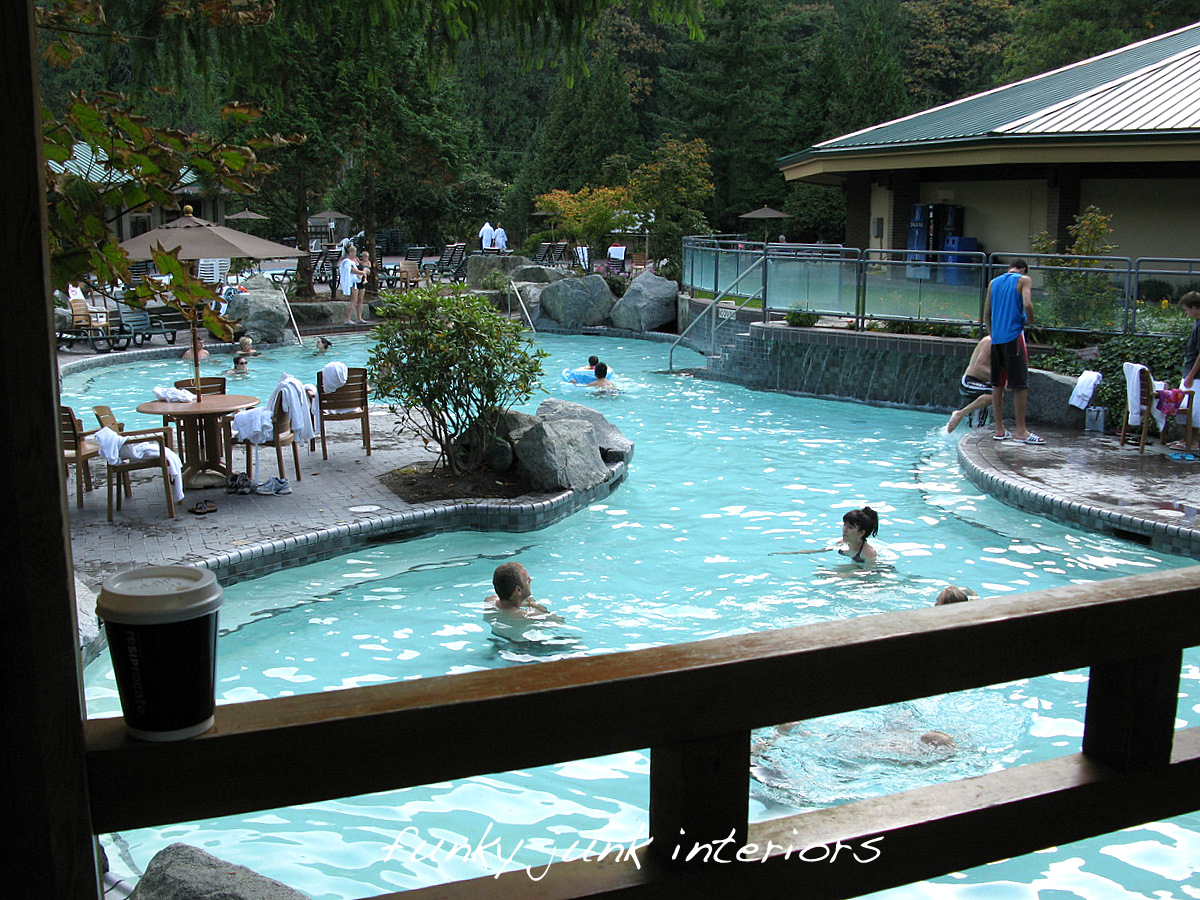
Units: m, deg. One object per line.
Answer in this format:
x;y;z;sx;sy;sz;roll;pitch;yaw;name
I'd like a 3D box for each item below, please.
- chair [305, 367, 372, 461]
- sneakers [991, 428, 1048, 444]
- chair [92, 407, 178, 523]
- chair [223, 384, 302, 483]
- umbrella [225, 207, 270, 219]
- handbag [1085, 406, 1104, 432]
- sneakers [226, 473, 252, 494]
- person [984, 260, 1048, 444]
-3.493;-0.521;12.472;0.695;1.214;0.932;-6;15;-17;chair
5.720;-0.197;12.647;0.628;0.246;0.225;0;6;12;sneakers
-4.902;0.106;9.877;0.792;0.996;0.660;-1;15;-16;chair
-4.132;-0.152;11.285;0.924;1.109;0.897;-2;4;-25;chair
-12.040;-8.074;31.578;1.099;0.506;1.030;4;11;15;umbrella
7.072;-0.428;13.206;0.265;0.336;0.264;6;16;26;handbag
-4.144;0.401;10.649;0.211;0.267;0.269;9;3;7;sneakers
5.618;-1.346;12.592;0.694;2.417;1.249;5;16;23;person
